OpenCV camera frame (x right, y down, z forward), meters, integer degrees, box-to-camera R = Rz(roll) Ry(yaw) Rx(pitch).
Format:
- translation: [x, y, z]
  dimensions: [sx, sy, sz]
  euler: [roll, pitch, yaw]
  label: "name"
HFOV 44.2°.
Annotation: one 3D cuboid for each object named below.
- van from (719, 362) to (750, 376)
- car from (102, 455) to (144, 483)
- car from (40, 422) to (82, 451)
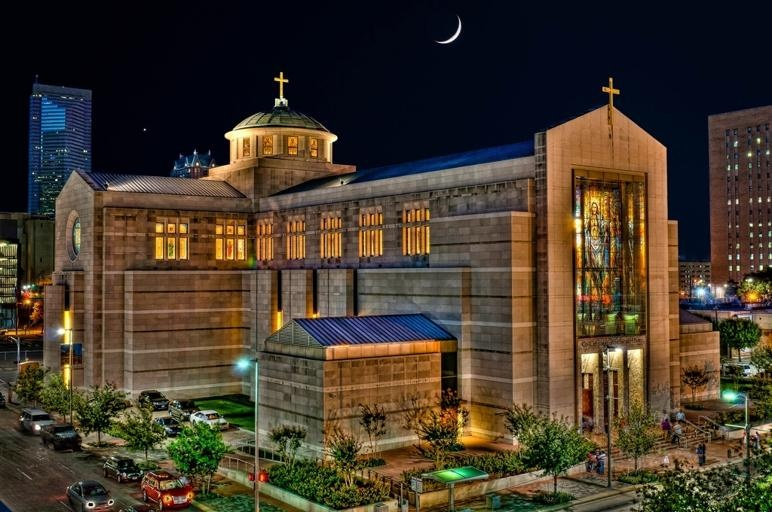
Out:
- translation: [45.886, 15.093, 126.350]
  dimensions: [2.636, 1.459, 2.670]
  euler: [-3, -7, 22]
  label: "van"
- translation: [-24.767, 20.084, 89.338]
  dimensions: [3.705, 2.059, 1.509]
  euler: [-4, -5, 31]
  label: "car"
- translation: [-33.456, 18.622, 98.097]
  dimensions: [4.487, 2.612, 2.157]
  euler: [-5, -5, 35]
  label: "car"
